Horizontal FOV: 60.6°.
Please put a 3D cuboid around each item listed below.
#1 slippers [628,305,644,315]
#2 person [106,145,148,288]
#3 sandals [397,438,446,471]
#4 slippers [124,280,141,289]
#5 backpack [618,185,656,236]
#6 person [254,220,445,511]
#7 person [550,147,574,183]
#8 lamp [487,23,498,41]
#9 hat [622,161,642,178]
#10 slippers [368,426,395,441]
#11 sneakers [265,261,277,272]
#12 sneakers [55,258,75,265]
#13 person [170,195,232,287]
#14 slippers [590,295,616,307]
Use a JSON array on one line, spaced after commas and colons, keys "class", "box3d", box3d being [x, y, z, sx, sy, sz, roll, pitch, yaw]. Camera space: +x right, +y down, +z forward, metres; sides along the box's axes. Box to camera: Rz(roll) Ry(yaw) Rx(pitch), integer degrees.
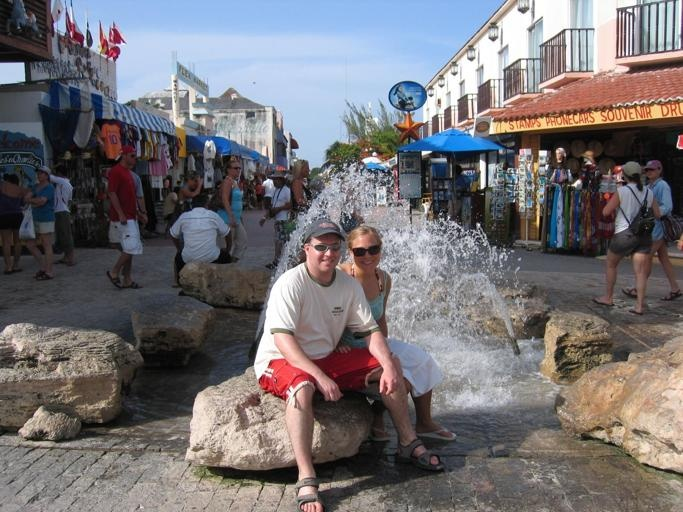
[{"class": "slippers", "box3d": [4.038, 0.765, 8.012, 0.091, 0.097, 0.203, -5, 13, -26]}, {"class": "person", "box3d": [-3.411, -0.594, 9.133, 0.553, 2.201, 0.573, -1, 9, -6]}, {"class": "sandals", "box3d": [0.577, 1.414, 4.245, 0.335, 0.178, 0.154, 6, 22, 33]}, {"class": "slippers", "box3d": [-3.318, 0.463, 9.247, 0.203, 0.090, 0.108, -2, 6, -6]}, {"class": "backpack", "box3d": [4.081, -0.612, 8.067, 0.413, 0.682, 0.325, 3, 10, 20]}, {"class": "person", "box3d": [-0.050, 0.648, 4.193, 0.986, 1.765, 0.872, -5, 10, -29]}, {"class": "person", "box3d": [5.359, -2.112, 14.275, 0.546, 1.017, 0.521, 1, -18, 16]}, {"class": "lamp", "box3d": [6.879, -10.161, 26.475, 0.515, 0.813, 0.568, 1, 8, 16]}, {"class": "hat", "box3d": [4.081, -1.259, 8.220, 0.176, 0.158, 0.263, 8, 33, 13]}, {"class": "slippers", "box3d": [0.304, 1.405, 4.613, 0.160, 0.071, 0.092, -1, 3, 16]}, {"class": "sneakers", "box3d": [-1.342, 0.188, 11.131, 0.119, 0.117, 0.326, 0, 4, -18]}, {"class": "sneakers", "box3d": [-5.475, 0.134, 11.598, 0.433, 0.131, 0.175, 11, 4, 34]}, {"class": "person", "box3d": [-2.219, -0.205, 9.298, 0.854, 1.540, 0.830, 0, 4, -19]}, {"class": "slippers", "box3d": [3.803, 0.674, 8.505, 0.127, 0.120, 0.268, 1, 16, -39]}]
